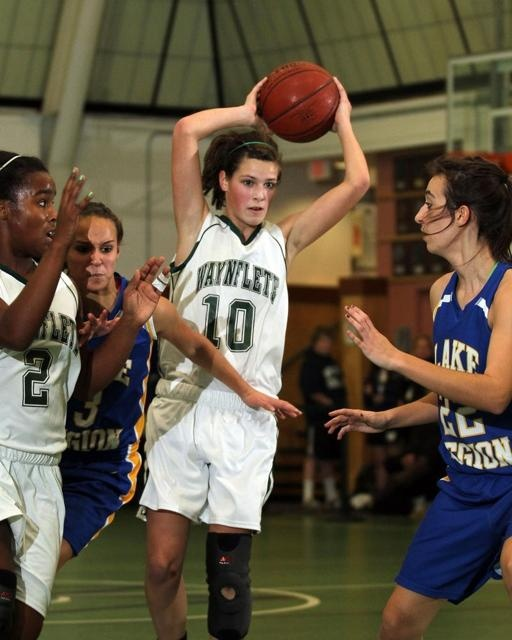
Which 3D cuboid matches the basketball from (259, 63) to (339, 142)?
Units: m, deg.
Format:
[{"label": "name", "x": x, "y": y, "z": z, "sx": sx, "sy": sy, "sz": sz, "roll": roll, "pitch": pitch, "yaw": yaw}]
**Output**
[{"label": "basketball", "x": 0.099, "y": -0.692, "z": 2.367, "sx": 0.313, "sy": 0.231, "sz": 0.259, "roll": 4, "pitch": 12, "yaw": -10}]
